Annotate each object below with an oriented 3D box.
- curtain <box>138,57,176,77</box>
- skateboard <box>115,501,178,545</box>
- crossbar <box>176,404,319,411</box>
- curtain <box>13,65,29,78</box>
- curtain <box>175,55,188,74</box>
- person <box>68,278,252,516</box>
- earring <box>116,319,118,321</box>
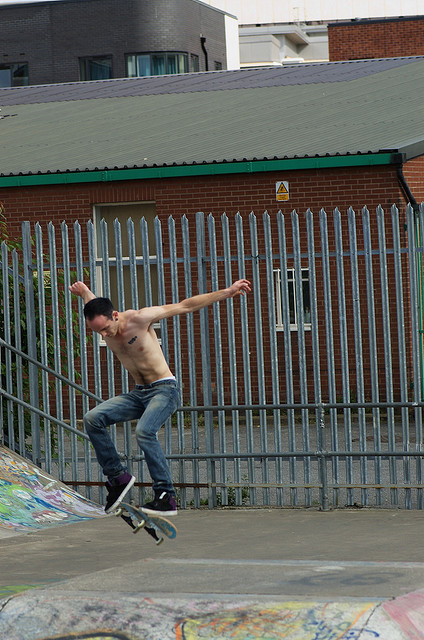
[{"bbox_3d":[-1.373,-6.570,36.097,0.998,0.356,0.467,-2,1,-32],"label":"curtain"},{"bbox_3d":[-0.489,1.460,10.137,0.113,0.208,0.677,-38,18,-20],"label":"skateboard"},{"bbox_3d":[0.303,0.727,11.641,1.197,0.063,0.349,-1,1,7],"label":"crossbar"},{"bbox_3d":[-5.086,-6.564,36.901,0.087,0.254,0.613,-2,1,-41],"label":"curtain"},{"bbox_3d":[-0.757,-6.721,36.590,0.238,0.366,0.587,-1,1,27],"label":"curtain"},{"bbox_3d":[-0.470,0.516,10.299,1.542,2.034,0.712,-8,-21,21],"label":"person"},{"bbox_3d":[-0.693,-0.005,10.119,0.013,0.014,0.013,3,3,43],"label":"earring"}]
